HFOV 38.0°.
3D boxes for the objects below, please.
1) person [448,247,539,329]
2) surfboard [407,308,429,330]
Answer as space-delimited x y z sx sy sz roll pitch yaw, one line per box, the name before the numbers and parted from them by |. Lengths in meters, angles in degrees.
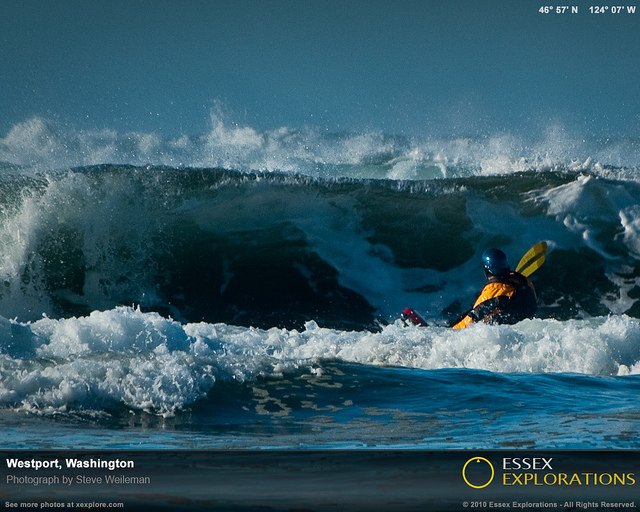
person | 3.136 0.586 16.057 1.267 1.299 0.695 2 10 7
surfboard | 1.789 1.127 16.983 0.094 0.368 0.393 -54 -20 9
